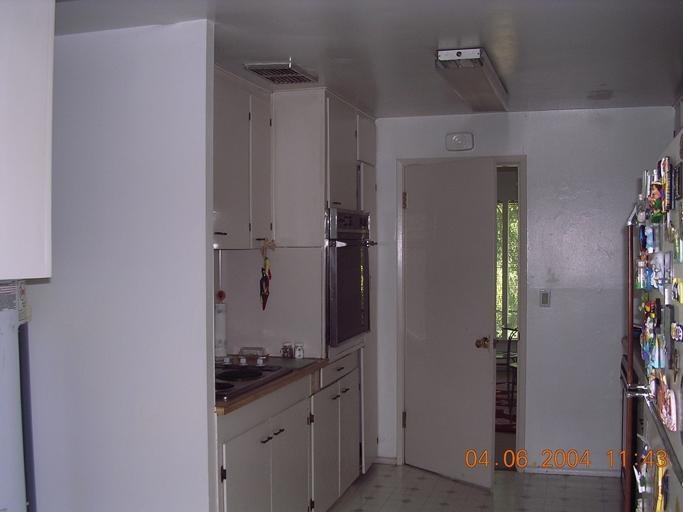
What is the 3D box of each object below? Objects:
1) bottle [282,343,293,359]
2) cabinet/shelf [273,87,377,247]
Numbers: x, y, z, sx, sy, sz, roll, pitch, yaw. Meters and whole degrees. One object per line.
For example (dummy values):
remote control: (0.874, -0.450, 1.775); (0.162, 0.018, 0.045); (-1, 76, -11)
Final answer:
bottle: (-0.355, 0.626, 3.904); (0.057, 0.087, 0.076); (-4, 6, -36)
cabinet/shelf: (-0.142, -0.616, 4.029); (0.296, 0.989, 0.995); (-1, 1, 16)
